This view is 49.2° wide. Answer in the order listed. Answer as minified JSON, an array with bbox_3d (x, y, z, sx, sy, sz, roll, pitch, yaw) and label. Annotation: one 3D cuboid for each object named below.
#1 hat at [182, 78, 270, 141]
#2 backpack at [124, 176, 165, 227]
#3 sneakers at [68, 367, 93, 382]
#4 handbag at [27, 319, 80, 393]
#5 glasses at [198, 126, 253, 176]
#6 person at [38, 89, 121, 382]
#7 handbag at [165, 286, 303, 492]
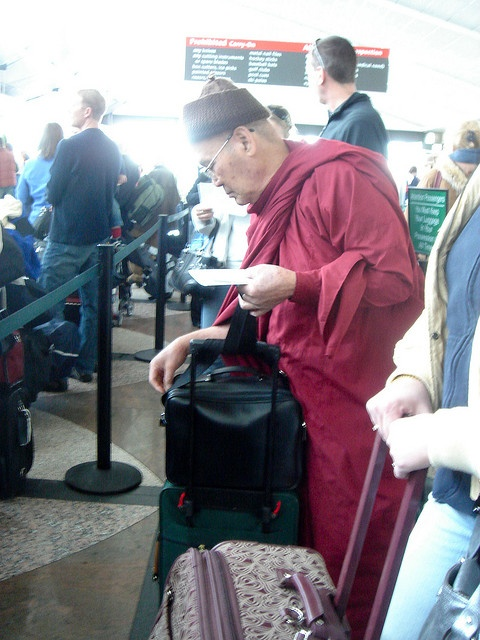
[{"bbox_3d":[-0.033,-0.576,1.518,0.190,0.122,0.187,-42,22,-15],"label":"hat"},{"bbox_3d":[-0.966,-1.165,5.210,0.268,0.411,0.593,11,53,1],"label":"backpack"},{"bbox_3d":[-1.126,0.393,3.782,0.190,0.079,0.073,17,10,5],"label":"sneakers"},{"bbox_3d":[-1.166,0.226,3.502,0.256,0.507,0.339,-2,2,42],"label":"handbag"},{"bbox_3d":[-0.041,-0.460,1.503,0.035,0.133,0.124,33,-1,-12],"label":"glasses"},{"bbox_3d":[-1.139,-0.576,3.713,0.489,2.028,0.475,3,5,-29],"label":"person"},{"bbox_3d":[-0.020,0.144,1.324,0.360,0.572,0.286,2,21,1],"label":"handbag"}]
